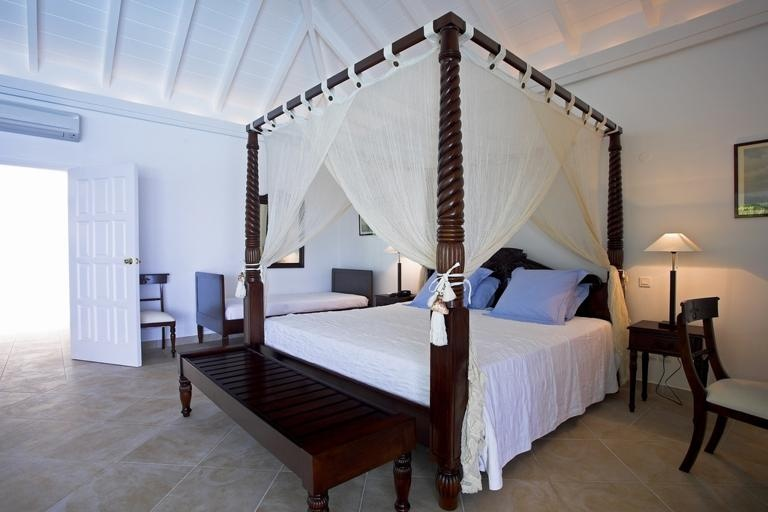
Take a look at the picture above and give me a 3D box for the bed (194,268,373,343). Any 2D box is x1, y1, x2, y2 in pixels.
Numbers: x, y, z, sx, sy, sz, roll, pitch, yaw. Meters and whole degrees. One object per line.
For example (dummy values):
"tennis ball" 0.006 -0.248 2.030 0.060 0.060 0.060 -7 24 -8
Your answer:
"bed" -1.606 0.697 7.109 2.099 1.104 1.186 0 0 -35

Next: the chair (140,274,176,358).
"chair" -3.162 0.816 6.414 0.427 1.087 0.720 -7 16 -26
